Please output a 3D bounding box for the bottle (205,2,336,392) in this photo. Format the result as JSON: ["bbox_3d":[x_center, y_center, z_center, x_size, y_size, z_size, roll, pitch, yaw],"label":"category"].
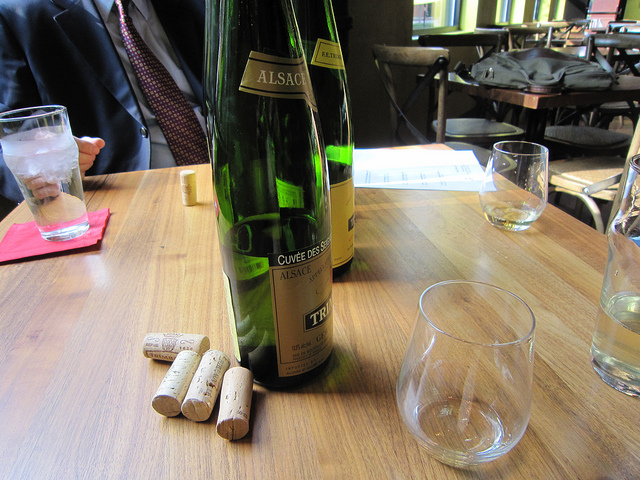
[{"bbox_3d":[-0.053,-0.048,0.537,0.144,0.392,0.188,-4,26,-8],"label":"bottle"}]

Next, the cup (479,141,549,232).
[{"bbox_3d":[0.366,-0.110,0.871,0.118,0.168,0.113,-2,31,1],"label":"cup"}]

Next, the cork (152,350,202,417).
[{"bbox_3d":[-0.160,0.161,0.536,0.027,0.030,0.070,20,27,-5],"label":"cork"}]
